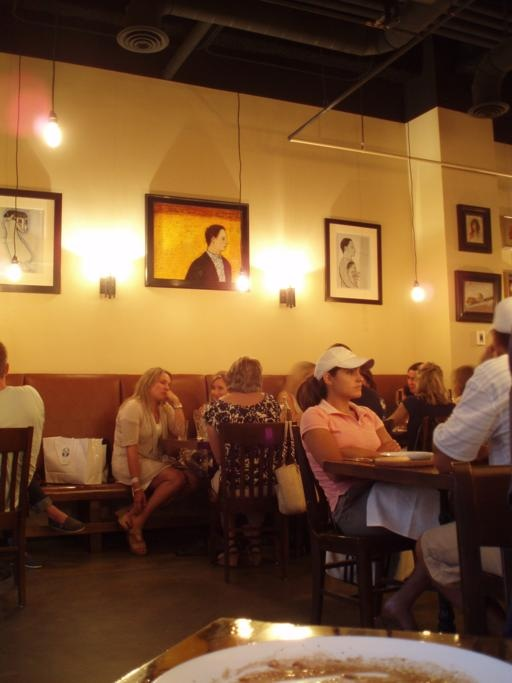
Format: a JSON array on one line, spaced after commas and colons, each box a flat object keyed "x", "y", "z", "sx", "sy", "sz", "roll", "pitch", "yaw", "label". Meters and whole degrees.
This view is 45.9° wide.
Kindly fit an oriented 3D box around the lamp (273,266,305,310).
[{"x": 0.349, "y": -0.587, "z": 6.726, "sx": 0.260, "sy": 0.466, "sz": 0.462, "roll": 0, "pitch": 1, "yaw": -3, "label": "lamp"}]

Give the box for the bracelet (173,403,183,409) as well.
[{"x": -0.704, "y": 0.576, "z": 5.371, "sx": 0.077, "sy": 0.056, "sz": 0.102, "roll": -2, "pitch": 0, "yaw": -3, "label": "bracelet"}]

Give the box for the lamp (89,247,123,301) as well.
[{"x": -1.481, "y": -0.665, "z": 5.895, "sx": 0.258, "sy": 0.500, "sz": 0.114, "roll": 2, "pitch": -8, "yaw": -16, "label": "lamp"}]

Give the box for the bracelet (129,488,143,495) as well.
[{"x": -0.904, "y": 1.131, "z": 4.535, "sx": 0.073, "sy": 0.034, "sz": 0.093, "roll": 1, "pitch": 0, "yaw": -19, "label": "bracelet"}]

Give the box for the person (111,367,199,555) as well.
[{"x": -0.859, "y": 0.915, "z": 4.836, "sx": 0.586, "sy": 1.394, "sz": 0.703, "roll": 2, "pitch": -8, "yaw": -11, "label": "person"}]

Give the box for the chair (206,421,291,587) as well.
[{"x": -0.007, "y": 1.050, "z": 4.130, "sx": 0.524, "sy": 0.967, "sz": 0.771, "roll": 1, "pitch": -8, "yaw": -4, "label": "chair"}]

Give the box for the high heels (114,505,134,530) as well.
[{"x": -1.015, "y": 1.343, "z": 4.609, "sx": 0.115, "sy": 0.152, "sz": 0.301, "roll": 2, "pitch": -8, "yaw": -16, "label": "high heels"}]

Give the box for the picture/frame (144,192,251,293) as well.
[{"x": -0.664, "y": -1.008, "z": 6.285, "sx": 1.093, "sy": 0.923, "sz": 0.092, "roll": -1, "pitch": -1, "yaw": -26, "label": "picture/frame"}]

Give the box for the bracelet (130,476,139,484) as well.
[{"x": -0.916, "y": 1.053, "z": 4.566, "sx": 0.054, "sy": 0.053, "sz": 0.054, "roll": 3, "pitch": -6, "yaw": -16, "label": "bracelet"}]

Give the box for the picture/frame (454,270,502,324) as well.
[{"x": 2.437, "y": -0.489, "z": 6.715, "sx": 0.729, "sy": 0.629, "sz": 0.051, "roll": 3, "pitch": -6, "yaw": -39, "label": "picture/frame"}]

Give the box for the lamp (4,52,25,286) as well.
[{"x": -2.195, "y": -1.626, "z": 5.584, "sx": 0.149, "sy": 2.169, "sz": 0.257, "roll": 3, "pitch": -8, "yaw": -22, "label": "lamp"}]

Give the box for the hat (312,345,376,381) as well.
[{"x": 0.421, "y": 0.094, "z": 2.919, "sx": 0.248, "sy": 0.132, "sz": 0.157, "roll": -24, "pitch": -8, "yaw": 29, "label": "hat"}]

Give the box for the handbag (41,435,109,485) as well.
[{"x": -1.436, "y": 0.950, "z": 4.828, "sx": 0.539, "sy": 0.401, "sz": 0.336, "roll": -1, "pitch": -8, "yaw": 12, "label": "handbag"}]

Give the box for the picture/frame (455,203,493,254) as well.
[{"x": 2.575, "y": -1.330, "z": 7.175, "sx": 0.603, "sy": 0.614, "sz": 0.067, "roll": 4, "pitch": -12, "yaw": -30, "label": "picture/frame"}]

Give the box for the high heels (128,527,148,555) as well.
[{"x": -0.892, "y": 1.487, "z": 4.508, "sx": 0.128, "sy": 0.179, "sz": 0.251, "roll": 5, "pitch": -9, "yaw": -32, "label": "high heels"}]

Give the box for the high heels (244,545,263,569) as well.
[{"x": -0.026, "y": 1.516, "z": 4.226, "sx": 0.124, "sy": 0.178, "sz": 0.174, "roll": 3, "pitch": -18, "yaw": -6, "label": "high heels"}]

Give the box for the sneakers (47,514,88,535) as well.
[{"x": -1.362, "y": 1.323, "z": 4.351, "sx": 0.269, "sy": 0.108, "sz": 0.122, "roll": 2, "pitch": -5, "yaw": 2, "label": "sneakers"}]
